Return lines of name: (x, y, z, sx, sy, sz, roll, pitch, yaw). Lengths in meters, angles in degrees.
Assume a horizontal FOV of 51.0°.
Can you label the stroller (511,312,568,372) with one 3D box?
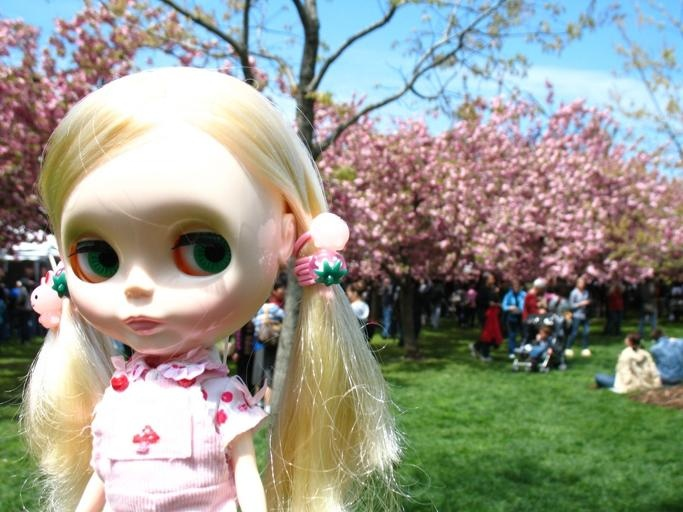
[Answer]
stroller: (1.793, 0.807, 6.408, 0.395, 0.630, 0.485, -2, -6, 35)
